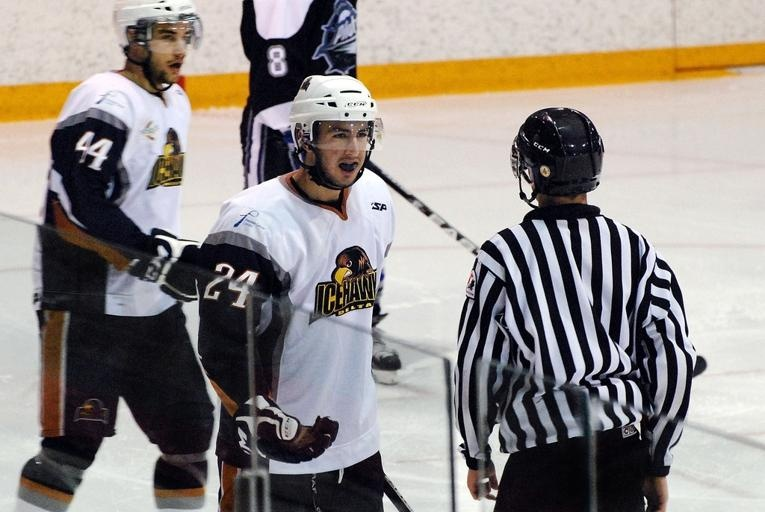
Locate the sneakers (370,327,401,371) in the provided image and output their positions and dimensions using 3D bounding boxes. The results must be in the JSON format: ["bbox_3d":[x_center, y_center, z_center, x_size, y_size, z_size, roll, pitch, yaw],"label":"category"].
[{"bbox_3d":[-0.002,0.248,3.243,0.056,0.109,0.149,0,9,-17],"label":"sneakers"}]

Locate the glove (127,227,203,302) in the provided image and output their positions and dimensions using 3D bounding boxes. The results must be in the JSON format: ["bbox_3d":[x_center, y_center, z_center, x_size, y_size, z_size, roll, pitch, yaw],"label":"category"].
[{"bbox_3d":[-0.575,0.021,3.471,0.218,0.202,0.090,18,32,14],"label":"glove"}]

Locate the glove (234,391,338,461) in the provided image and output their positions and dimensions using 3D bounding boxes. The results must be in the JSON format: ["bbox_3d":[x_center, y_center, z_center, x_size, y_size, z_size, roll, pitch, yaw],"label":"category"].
[{"bbox_3d":[-0.232,0.472,3.467,0.217,0.069,0.146,-12,-10,-19],"label":"glove"}]

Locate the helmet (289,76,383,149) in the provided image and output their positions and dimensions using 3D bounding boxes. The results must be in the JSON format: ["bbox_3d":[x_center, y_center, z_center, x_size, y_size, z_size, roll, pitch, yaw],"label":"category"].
[{"bbox_3d":[-0.140,-0.405,3.791,0.250,0.237,0.279,-5,8,-27],"label":"helmet"}]

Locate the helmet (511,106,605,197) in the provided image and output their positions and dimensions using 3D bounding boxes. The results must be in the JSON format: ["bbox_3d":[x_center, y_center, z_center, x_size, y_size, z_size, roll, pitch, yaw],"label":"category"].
[{"bbox_3d":[0.511,-0.287,3.797,0.255,0.276,0.297,-9,24,-11],"label":"helmet"}]
